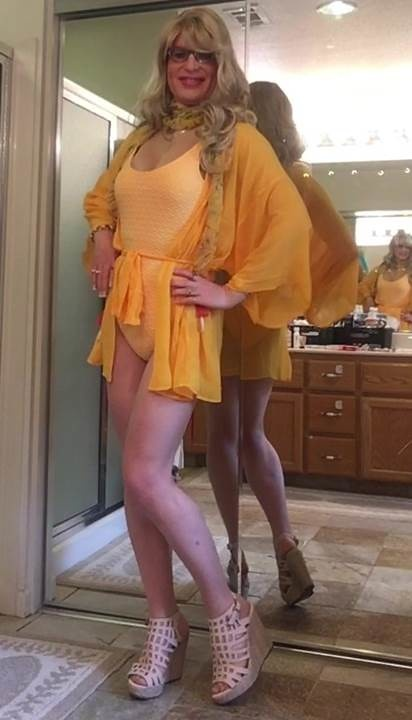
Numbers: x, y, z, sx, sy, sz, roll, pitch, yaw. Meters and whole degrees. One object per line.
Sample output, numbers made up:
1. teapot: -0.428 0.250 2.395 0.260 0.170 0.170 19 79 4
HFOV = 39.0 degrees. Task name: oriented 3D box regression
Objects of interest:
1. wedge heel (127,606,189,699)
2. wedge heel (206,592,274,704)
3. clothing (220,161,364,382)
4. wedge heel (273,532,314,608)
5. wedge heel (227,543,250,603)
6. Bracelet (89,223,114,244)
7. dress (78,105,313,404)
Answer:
1. wedge heel: -0.099 0.622 1.239 0.063 0.139 0.191 0 -2 31
2. wedge heel: 0.060 0.600 1.221 0.067 0.142 0.202 -19 9 38
3. clothing: 0.197 -0.224 1.572 0.403 0.646 0.167 5 -17 16
4. wedge heel: 0.222 0.594 1.581 0.084 0.074 0.209 -40 12 33
5. wedge heel: 0.091 0.589 1.626 0.051 0.146 0.052 -2 0 -12
6. Bracelet: -0.247 -0.282 1.337 0.039 0.036 0.051 -2 -15 -7
7. dress: -0.048 -0.229 1.246 0.527 0.629 0.242 0 -2 11
